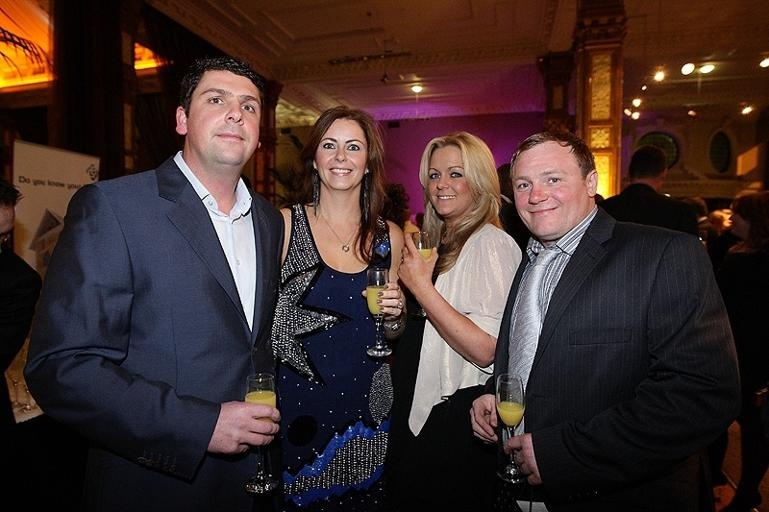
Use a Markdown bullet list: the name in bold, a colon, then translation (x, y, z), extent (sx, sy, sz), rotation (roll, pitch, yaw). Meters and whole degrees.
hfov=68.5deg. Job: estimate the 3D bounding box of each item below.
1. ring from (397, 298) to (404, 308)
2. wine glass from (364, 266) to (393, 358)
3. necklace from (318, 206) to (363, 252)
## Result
- **ring**: translation (0.126, 0.338, 4.047), extent (0.046, 0.062, 0.022), rotation (-3, -13, 2)
- **wine glass**: translation (-0.041, 0.364, 3.843), extent (0.153, 0.587, 0.313), rotation (-1, 11, -2)
- **necklace**: translation (-0.341, -0.182, 4.082), extent (0.099, 0.324, 0.324), rotation (-34, -25, 34)
